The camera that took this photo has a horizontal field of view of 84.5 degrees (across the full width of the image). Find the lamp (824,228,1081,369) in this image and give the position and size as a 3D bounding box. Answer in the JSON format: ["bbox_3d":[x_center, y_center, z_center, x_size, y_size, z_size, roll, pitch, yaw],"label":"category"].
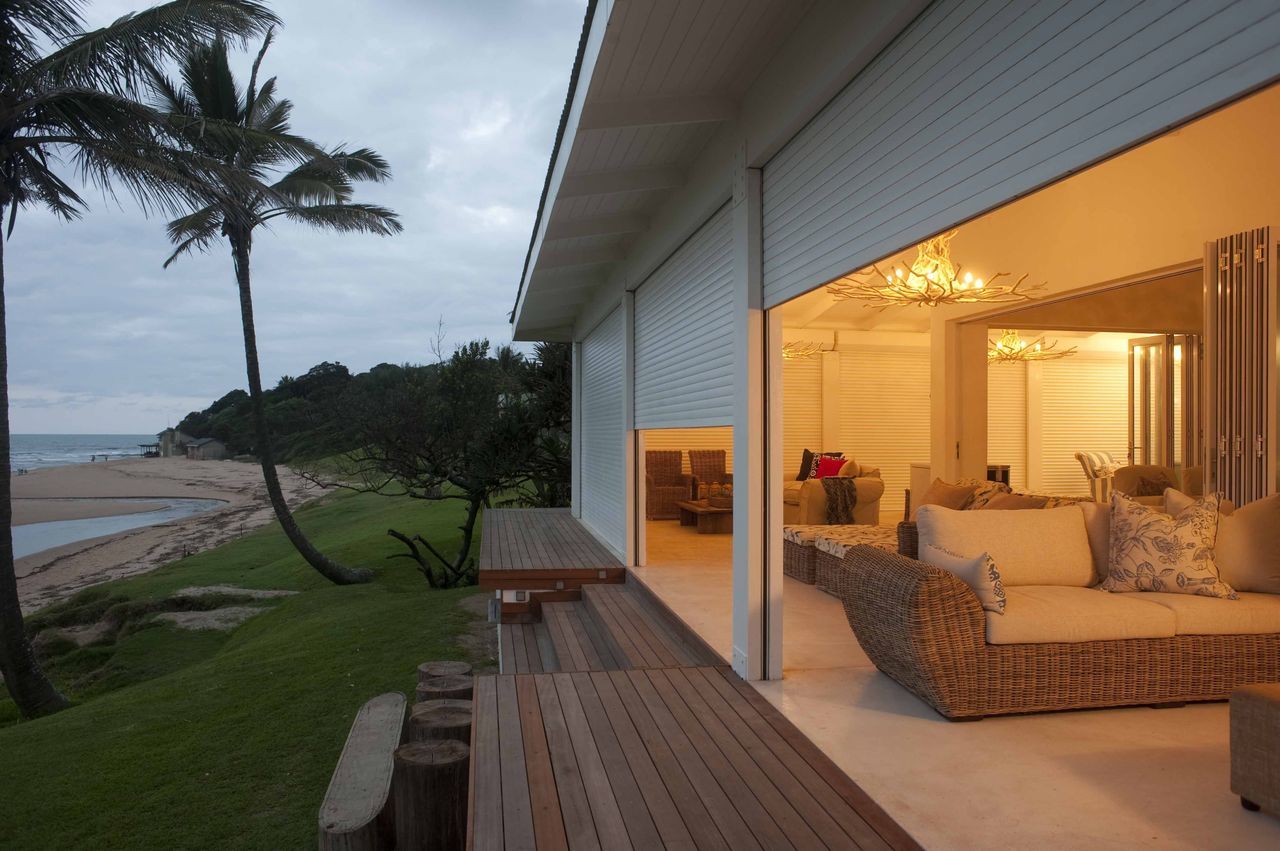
[{"bbox_3d":[3.253,-1.520,8.454,2.483,0.786,2.255,1,-5,-2],"label":"lamp"}]
